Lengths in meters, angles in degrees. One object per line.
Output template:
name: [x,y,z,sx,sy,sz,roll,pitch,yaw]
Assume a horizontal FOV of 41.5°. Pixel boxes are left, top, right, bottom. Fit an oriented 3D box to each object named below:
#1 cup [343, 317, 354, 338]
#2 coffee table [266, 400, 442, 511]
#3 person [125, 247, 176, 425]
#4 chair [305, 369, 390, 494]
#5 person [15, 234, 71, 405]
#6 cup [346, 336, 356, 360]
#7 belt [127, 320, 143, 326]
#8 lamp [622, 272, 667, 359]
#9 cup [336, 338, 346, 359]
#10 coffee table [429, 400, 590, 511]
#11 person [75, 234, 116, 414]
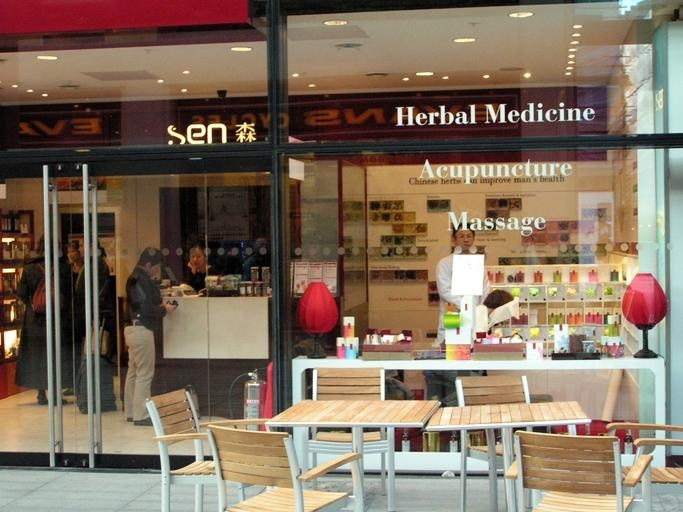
cup: [0.078,0.682,8.683,0.115,0.179,0.264,-2,10,0]
coffee table: [0.090,1.275,6.975,1.058,0.666,1.076,-2,3,9]
person: [-1.992,0.819,9.135,0.479,1.779,0.243,-4,10,-9]
chair: [-0.049,1.460,7.568,0.720,0.961,0.779,-3,-6,37]
person: [-3.025,0.671,9.182,0.607,1.681,0.240,0,10,10]
cup: [0.096,0.877,8.554,0.106,0.181,0.074,-1,10,8]
belt: [-2.080,0.674,9.145,0.114,0.068,0.014,-2,10,3]
lamp: [2.824,0.548,8.352,0.389,0.718,0.419,-2,10,0]
cup: [-0.001,0.876,8.567,0.081,0.185,0.085,-2,10,0]
coffee table: [1.292,1.695,6.885,1.005,0.967,1.008,-1,5,7]
person: [-2.480,0.743,9.111,0.420,1.677,0.249,-2,10,2]
